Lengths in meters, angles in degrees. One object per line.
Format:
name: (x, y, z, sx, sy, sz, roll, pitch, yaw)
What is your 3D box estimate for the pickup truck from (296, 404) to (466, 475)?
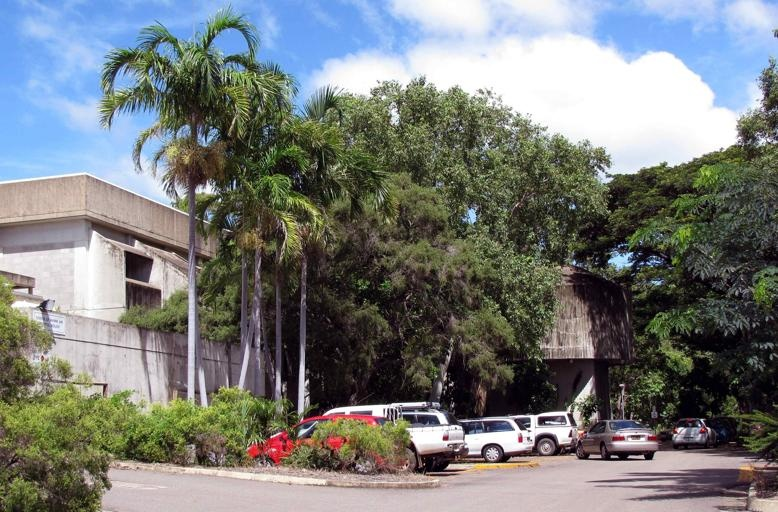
pickup truck: (0.269, 6.756, 34.488, 4.811, 2.106, 2.581, -1, -10, 12)

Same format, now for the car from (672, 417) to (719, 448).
car: (17.387, 10.167, 53.222, 2.323, 1.755, 1.426, -7, -14, 18)

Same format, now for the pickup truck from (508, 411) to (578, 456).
pickup truck: (7.481, 8.649, 44.934, 3.266, 1.607, 1.850, 1, -7, 11)

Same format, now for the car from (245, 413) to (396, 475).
car: (-2.879, 6.465, 32.367, 3.508, 1.675, 2.257, 1, -10, 16)

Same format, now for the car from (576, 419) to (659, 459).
car: (10.066, 8.394, 42.291, 1.684, 1.219, 3.464, 2, -9, -12)

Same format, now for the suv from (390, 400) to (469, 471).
suv: (1.357, 6.747, 34.504, 2.934, 1.775, 1.801, 1, -11, 16)
